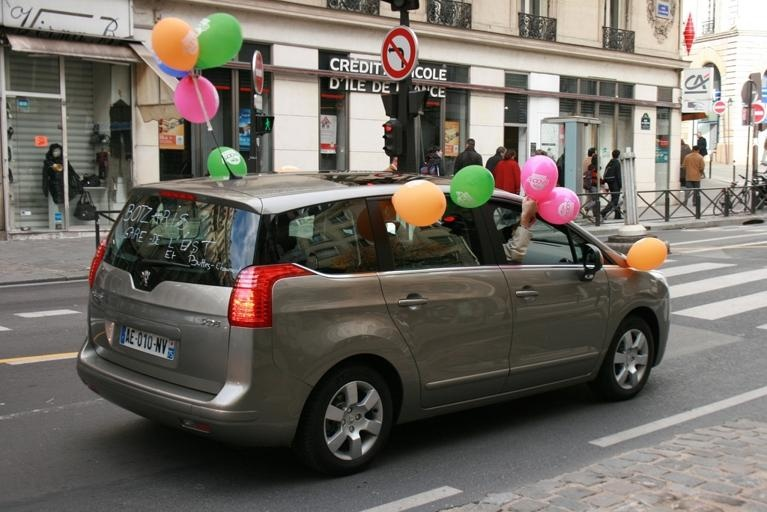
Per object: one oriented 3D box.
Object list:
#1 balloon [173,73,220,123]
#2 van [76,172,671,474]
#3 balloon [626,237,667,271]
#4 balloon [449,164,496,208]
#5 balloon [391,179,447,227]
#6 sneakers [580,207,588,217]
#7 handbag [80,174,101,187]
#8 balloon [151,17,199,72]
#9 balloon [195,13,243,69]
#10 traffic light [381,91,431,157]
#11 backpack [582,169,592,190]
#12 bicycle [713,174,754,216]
[{"bbox_3d":[-1.784,-1.538,5.934,0.544,0.456,0.372,8,12,40],"label":"balloon"},{"bbox_3d":[0.071,0.286,5.078,4.039,1.635,2.288,-9,10,-35],"label":"van"},{"bbox_3d":[2.529,-0.031,5.895,0.367,0.284,0.277,-21,-42,30],"label":"balloon"},{"bbox_3d":[0.699,-0.533,4.813,0.288,0.347,0.191,12,23,-19],"label":"balloon"},{"bbox_3d":[0.293,-0.412,4.640,0.389,0.423,0.520,5,-3,7],"label":"balloon"},{"bbox_3d":[7.098,-1.578,21.419,0.194,0.233,0.555,5,17,31],"label":"sneakers"},{"bbox_3d":[-8.643,-2.235,17.907,0.453,0.465,0.278,2,-8,-28],"label":"handbag"},{"bbox_3d":[-1.888,-1.905,5.585,0.369,0.501,0.391,-34,26,-16],"label":"balloon"},{"bbox_3d":[-1.597,-2.106,5.857,0.422,0.576,0.480,-2,9,-19],"label":"balloon"},{"bbox_3d":[0.374,-2.508,11.465,0.894,1.221,0.444,3,9,17],"label":"traffic light"},{"bbox_3d":[7.526,-2.817,22.255,0.178,0.577,0.428,7,-8,-21],"label":"backpack"},{"bbox_3d":[14.919,-2.516,25.391,1.064,1.393,4.258,8,12,38],"label":"bicycle"}]
